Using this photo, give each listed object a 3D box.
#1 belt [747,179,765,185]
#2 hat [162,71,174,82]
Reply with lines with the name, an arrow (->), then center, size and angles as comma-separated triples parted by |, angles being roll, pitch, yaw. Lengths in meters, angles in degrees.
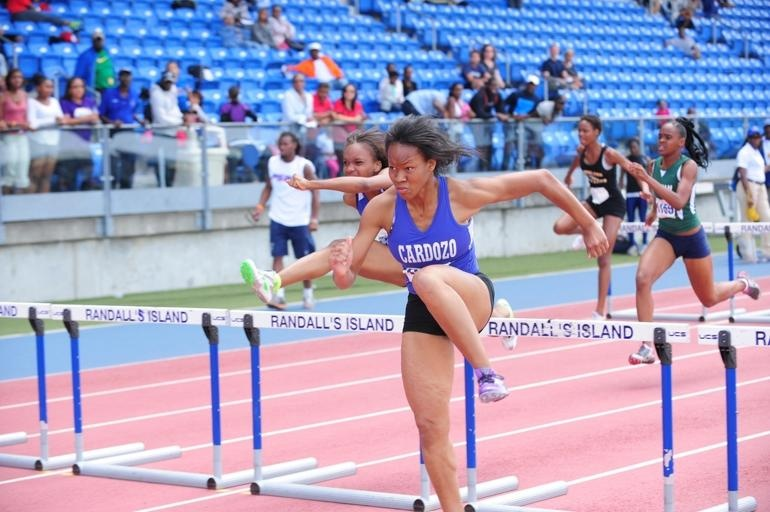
belt -> 6.876, -1.398, 19.085 | 0.411, 0.118, 0.077 | -5, 8, -22
hat -> -3.494, -2.958, 16.654 | 0.170, 0.172, 0.308 | -3, 8, -9
